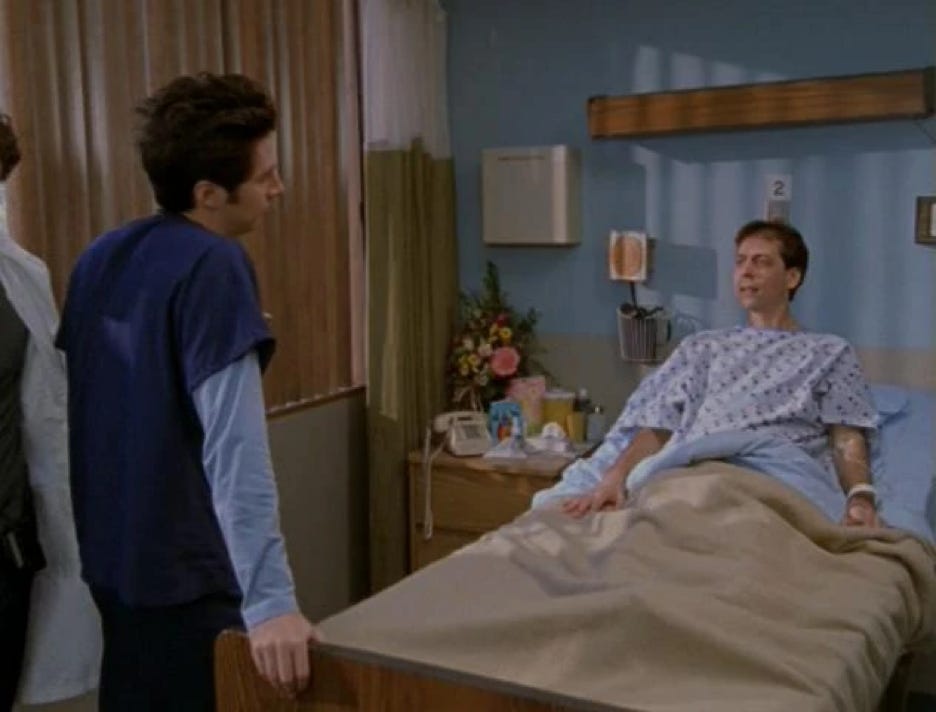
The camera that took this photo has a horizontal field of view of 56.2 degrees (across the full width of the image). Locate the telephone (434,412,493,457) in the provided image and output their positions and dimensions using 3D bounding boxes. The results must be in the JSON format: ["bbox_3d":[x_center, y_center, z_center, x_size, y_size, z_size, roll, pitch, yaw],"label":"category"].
[{"bbox_3d":[-0.033,0.319,3.840,0.269,0.154,0.283,3,12,4],"label":"telephone"}]

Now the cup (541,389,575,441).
[{"bbox_3d":[0.394,0.274,3.919,0.165,0.283,0.173,0,4,0],"label":"cup"}]

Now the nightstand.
[{"bbox_3d":[0.017,0.708,3.905,0.549,0.555,0.408,2,4,1],"label":"nightstand"}]

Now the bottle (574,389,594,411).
[{"bbox_3d":[0.508,0.197,3.986,0.083,0.151,0.084,-1,3,0],"label":"bottle"}]

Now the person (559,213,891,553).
[{"bbox_3d":[0.963,0.044,3.046,0.950,1.253,1.043,-4,-11,33],"label":"person"}]

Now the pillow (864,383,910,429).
[{"bbox_3d":[1.514,0.172,3.175,0.149,0.057,0.188,9,32,30],"label":"pillow"}]
